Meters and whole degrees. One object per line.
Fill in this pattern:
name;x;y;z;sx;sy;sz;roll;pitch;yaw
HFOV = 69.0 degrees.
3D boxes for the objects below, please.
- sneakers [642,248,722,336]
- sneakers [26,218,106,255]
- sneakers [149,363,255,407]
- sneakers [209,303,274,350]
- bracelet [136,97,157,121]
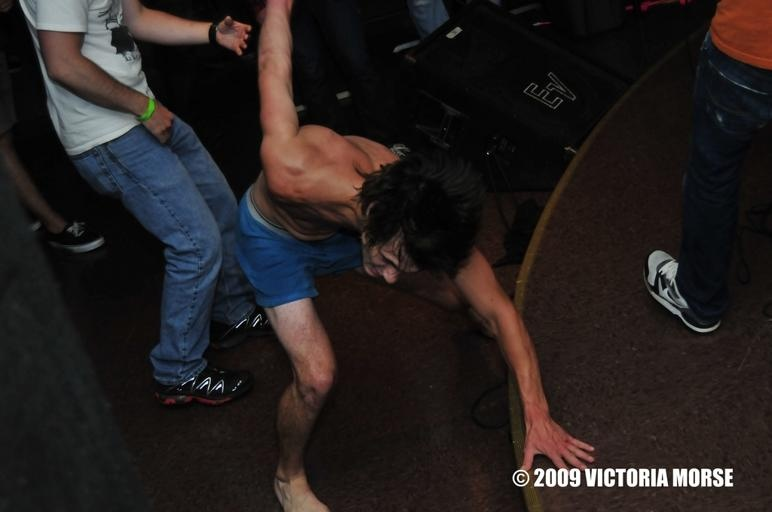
sneakers;1.038;0.137;2.102;0.137;0.173;0.379;-36;75;18
sneakers;-1.347;-0.083;2.415;0.276;0.098;0.111;11;58;-2
sneakers;-0.728;0.524;2.288;0.360;0.175;0.164;-5;37;-5
sneakers;-0.620;0.294;2.406;0.295;0.120;0.100;-25;48;-16
bracelet;-0.800;-0.496;1.912;0.029;0.061;0.080;25;84;-21
